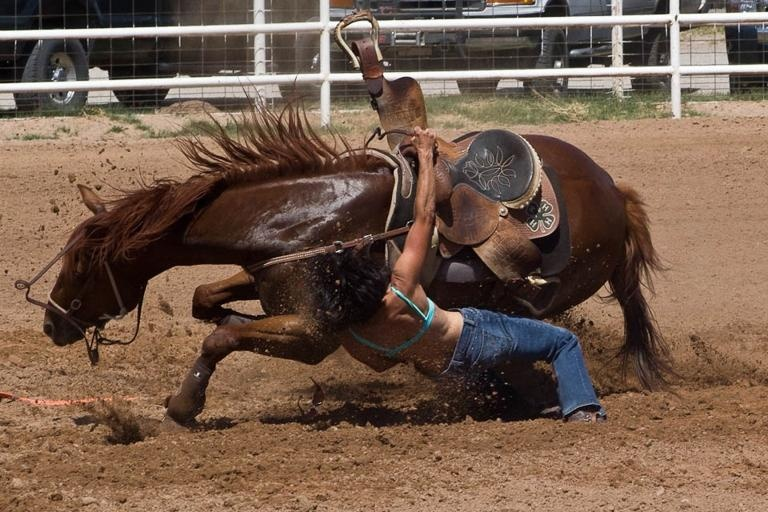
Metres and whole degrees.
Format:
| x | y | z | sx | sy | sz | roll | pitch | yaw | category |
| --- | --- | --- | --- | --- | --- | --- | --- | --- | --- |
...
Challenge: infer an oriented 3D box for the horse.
| x | y | z | sx | sy | sz | roll | pitch | yaw | category |
| --- | --- | --- | --- | --- | --- | --- | --- | --- | --- |
| -0.048 | -0.230 | 8.055 | 5.645 | 2.676 | 1.751 | -3 | 11 | -6 | horse |
